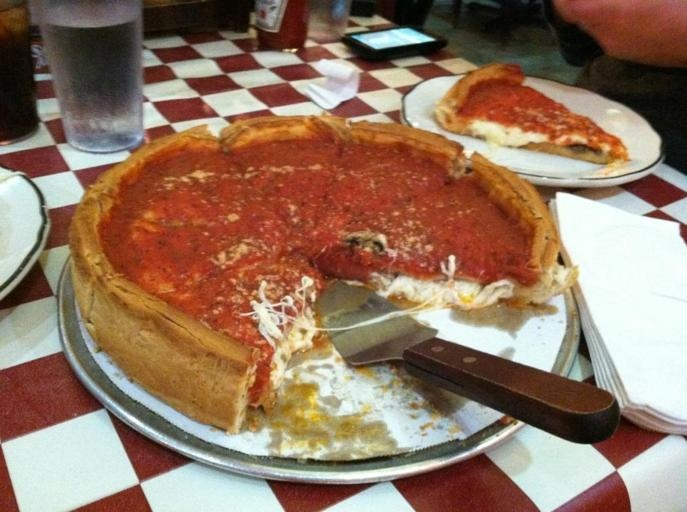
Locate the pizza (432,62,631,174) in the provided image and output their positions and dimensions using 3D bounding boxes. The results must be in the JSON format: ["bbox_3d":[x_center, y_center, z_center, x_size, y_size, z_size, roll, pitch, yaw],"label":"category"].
[{"bbox_3d":[0.458,-0.331,1.557,0.468,0.116,0.332,27,48,30],"label":"pizza"}]

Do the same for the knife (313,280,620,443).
[{"bbox_3d":[0.134,0.128,0.850,0.166,0.044,0.498,-14,16,-33],"label":"knife"}]

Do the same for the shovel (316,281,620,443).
[{"bbox_3d":[0.138,0.118,0.856,0.164,0.049,0.502,-14,16,-33],"label":"shovel"}]

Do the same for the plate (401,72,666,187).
[{"bbox_3d":[0.463,-0.302,1.464,0.587,0.060,0.406,9,37,11],"label":"plate"}]
